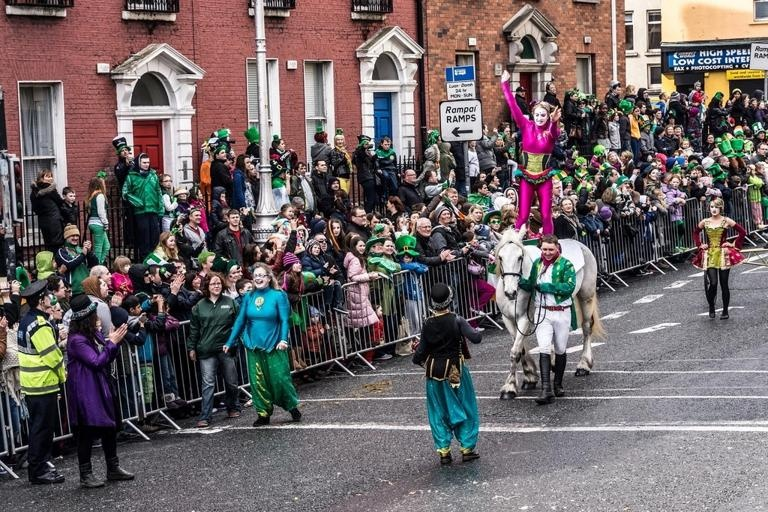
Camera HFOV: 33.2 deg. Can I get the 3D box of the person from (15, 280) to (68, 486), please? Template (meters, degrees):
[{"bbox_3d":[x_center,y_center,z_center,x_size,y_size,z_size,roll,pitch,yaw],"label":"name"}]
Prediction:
[{"bbox_3d":[-5.311,1.961,19.944,0.719,2.971,0.968,-7,12,-14],"label":"person"}]

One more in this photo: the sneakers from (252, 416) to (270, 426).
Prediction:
[{"bbox_3d":[-2.077,2.811,21.927,0.331,0.206,0.124,3,3,-4],"label":"sneakers"}]

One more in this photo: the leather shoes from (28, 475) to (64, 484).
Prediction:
[{"bbox_3d":[-5.198,3.438,19.826,0.533,0.195,0.183,-2,1,-4],"label":"leather shoes"}]

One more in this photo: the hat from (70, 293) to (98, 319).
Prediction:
[{"bbox_3d":[-4.665,0.805,19.734,0.391,0.188,0.347,-24,14,-1],"label":"hat"}]

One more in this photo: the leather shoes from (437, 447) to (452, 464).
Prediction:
[{"bbox_3d":[0.942,3.049,19.664,0.126,0.199,0.306,0,7,10],"label":"leather shoes"}]

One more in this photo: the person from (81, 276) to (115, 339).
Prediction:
[{"bbox_3d":[-4.818,0.877,21.493,0.485,1.115,0.488,-8,5,-29],"label":"person"}]

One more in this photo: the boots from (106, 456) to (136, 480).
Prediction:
[{"bbox_3d":[-4.069,3.273,19.737,0.541,0.379,0.237,0,2,-4],"label":"boots"}]

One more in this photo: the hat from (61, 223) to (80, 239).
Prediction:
[{"bbox_3d":[-6.130,-0.484,25.059,0.341,0.297,0.288,0,0,25],"label":"hat"}]

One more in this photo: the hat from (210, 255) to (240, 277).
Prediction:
[{"bbox_3d":[-2.892,0.140,23.468,0.480,0.295,0.336,-19,7,26],"label":"hat"}]

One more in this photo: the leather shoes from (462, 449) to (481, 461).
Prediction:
[{"bbox_3d":[1.318,3.035,19.659,0.315,0.122,0.121,-7,13,-16],"label":"leather shoes"}]

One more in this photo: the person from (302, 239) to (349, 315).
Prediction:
[{"bbox_3d":[-1.168,0.394,24.683,0.792,1.375,0.651,-6,11,-9],"label":"person"}]

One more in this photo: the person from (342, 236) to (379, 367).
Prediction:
[{"bbox_3d":[-0.466,0.733,25.175,0.604,2.176,0.743,1,12,23],"label":"person"}]

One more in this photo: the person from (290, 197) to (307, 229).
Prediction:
[{"bbox_3d":[-1.851,-0.924,27.669,0.237,0.734,0.305,-17,-12,14],"label":"person"}]

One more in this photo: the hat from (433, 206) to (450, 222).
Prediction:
[{"bbox_3d":[1.240,-0.869,27.085,0.288,0.285,0.354,3,-13,-10],"label":"hat"}]

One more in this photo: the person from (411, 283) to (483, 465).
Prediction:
[{"bbox_3d":[0.994,1.809,19.810,0.951,2.662,1.073,-5,11,-7],"label":"person"}]

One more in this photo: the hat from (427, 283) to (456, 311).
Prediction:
[{"bbox_3d":[0.887,0.637,20.028,0.320,0.426,0.326,0,-3,12],"label":"hat"}]

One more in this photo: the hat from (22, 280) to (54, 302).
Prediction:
[{"bbox_3d":[-5.448,0.522,20.097,0.355,0.130,0.310,-13,15,-32],"label":"hat"}]

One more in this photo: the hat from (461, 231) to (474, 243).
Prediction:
[{"bbox_3d":[1.761,-0.394,27.022,0.244,0.207,0.178,-18,14,6],"label":"hat"}]

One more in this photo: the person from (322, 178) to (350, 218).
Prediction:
[{"bbox_3d":[-1.147,-1.377,29.986,0.630,0.906,1.450,-4,11,1],"label":"person"}]

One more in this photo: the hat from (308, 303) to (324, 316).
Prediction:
[{"bbox_3d":[-1.300,1.033,24.433,0.220,0.295,0.337,0,12,17],"label":"hat"}]

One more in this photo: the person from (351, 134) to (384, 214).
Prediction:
[{"bbox_3d":[-0.443,-2.053,32.790,0.641,2.140,0.793,-10,-1,32],"label":"person"}]

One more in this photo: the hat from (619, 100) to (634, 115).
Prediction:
[{"bbox_3d":[7.400,-4.600,39.216,0.465,0.439,0.275,-19,-28,19],"label":"hat"}]

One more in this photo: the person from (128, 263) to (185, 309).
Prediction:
[{"bbox_3d":[-4.050,0.533,23.122,0.923,0.927,0.711,-13,21,1],"label":"person"}]

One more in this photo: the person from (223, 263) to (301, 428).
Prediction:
[{"bbox_3d":[-2.088,1.523,22.038,1.352,2.644,0.937,-1,-3,-5],"label":"person"}]

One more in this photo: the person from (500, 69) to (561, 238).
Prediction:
[{"bbox_3d":[2.797,-1.934,23.883,0.991,2.988,1.318,-4,11,-1],"label":"person"}]

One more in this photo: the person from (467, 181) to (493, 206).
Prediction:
[{"bbox_3d":[2.290,-1.411,30.260,0.549,0.706,0.955,-1,3,13],"label":"person"}]

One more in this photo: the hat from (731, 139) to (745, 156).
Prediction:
[{"bbox_3d":[10.492,-3.205,37.920,0.532,0.481,0.513,2,3,38],"label":"hat"}]

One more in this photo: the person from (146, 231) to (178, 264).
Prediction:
[{"bbox_3d":[-4.194,-0.153,24.347,0.565,0.466,0.861,-3,11,4],"label":"person"}]

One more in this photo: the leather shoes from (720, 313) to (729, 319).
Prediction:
[{"bbox_3d":[7.151,1.229,26.959,0.168,0.144,0.273,-1,11,15],"label":"leather shoes"}]

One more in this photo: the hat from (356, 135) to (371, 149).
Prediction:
[{"bbox_3d":[-0.498,-2.901,33.026,0.347,0.363,0.362,4,51,-6],"label":"hat"}]

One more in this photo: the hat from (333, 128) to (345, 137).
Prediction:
[{"bbox_3d":[-1.181,-3.256,33.762,0.215,0.218,0.630,-1,2,-2],"label":"hat"}]

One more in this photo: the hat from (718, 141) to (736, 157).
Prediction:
[{"bbox_3d":[10.065,-3.129,37.595,0.374,0.489,0.279,-22,17,6],"label":"hat"}]

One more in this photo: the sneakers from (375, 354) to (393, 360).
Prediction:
[{"bbox_3d":[-0.013,2.023,25.806,0.393,0.143,0.125,-2,37,1],"label":"sneakers"}]

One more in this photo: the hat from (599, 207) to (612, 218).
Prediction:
[{"bbox_3d":[5.353,-1.041,31.004,0.281,0.289,0.313,-1,11,11],"label":"hat"}]

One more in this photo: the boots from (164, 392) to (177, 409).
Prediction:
[{"bbox_3d":[-3.738,2.523,22.495,0.209,0.235,0.157,-8,12,-22],"label":"boots"}]

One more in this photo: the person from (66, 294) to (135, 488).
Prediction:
[{"bbox_3d":[-4.409,2.048,19.586,0.827,2.796,0.880,-7,12,-14],"label":"person"}]

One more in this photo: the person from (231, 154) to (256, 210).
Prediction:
[{"bbox_3d":[-3.291,-1.675,29.651,0.552,1.101,0.974,-5,11,-6],"label":"person"}]

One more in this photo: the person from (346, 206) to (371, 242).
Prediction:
[{"bbox_3d":[-0.523,-0.639,26.581,0.379,0.482,0.759,-6,7,16],"label":"person"}]

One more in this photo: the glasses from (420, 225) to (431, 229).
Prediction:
[{"bbox_3d":[0.880,-0.595,26.339,0.174,0.100,0.057,-10,13,-29],"label":"glasses"}]

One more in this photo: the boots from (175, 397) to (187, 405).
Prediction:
[{"bbox_3d":[-3.561,2.548,22.546,0.237,0.096,0.083,10,42,37],"label":"boots"}]

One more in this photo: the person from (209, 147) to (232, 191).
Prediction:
[{"bbox_3d":[-3.742,-1.978,29.443,0.472,1.008,0.625,-5,11,-7],"label":"person"}]

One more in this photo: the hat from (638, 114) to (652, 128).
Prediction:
[{"bbox_3d":[8.045,-4.141,39.789,0.117,0.415,0.423,34,59,11],"label":"hat"}]

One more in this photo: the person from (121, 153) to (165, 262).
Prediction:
[{"bbox_3d":[-5.290,-1.042,28.207,0.861,2.354,0.746,-2,12,11],"label":"person"}]

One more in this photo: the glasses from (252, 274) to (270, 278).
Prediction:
[{"bbox_3d":[-2.091,0.337,21.893,0.247,0.080,0.083,-4,11,-4],"label":"glasses"}]

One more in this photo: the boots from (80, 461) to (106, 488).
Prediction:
[{"bbox_3d":[-4.455,3.297,19.521,0.354,0.382,0.395,-7,12,-16],"label":"boots"}]

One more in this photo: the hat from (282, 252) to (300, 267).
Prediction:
[{"bbox_3d":[-1.756,0.073,24.037,0.280,0.245,0.251,6,5,42],"label":"hat"}]

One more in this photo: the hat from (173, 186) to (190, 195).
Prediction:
[{"bbox_3d":[-4.678,-1.510,29.530,0.386,0.148,0.376,-12,1,-37],"label":"hat"}]

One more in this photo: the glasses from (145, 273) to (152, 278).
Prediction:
[{"bbox_3d":[-4.233,0.359,23.069,0.105,0.126,0.097,-10,12,-6],"label":"glasses"}]

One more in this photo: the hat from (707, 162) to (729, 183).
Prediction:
[{"bbox_3d":[9.372,-2.320,36.146,0.463,0.584,0.164,-31,-12,-1],"label":"hat"}]

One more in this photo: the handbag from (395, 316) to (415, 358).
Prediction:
[{"bbox_3d":[0.422,1.559,26.011,0.398,0.630,0.501,-11,17,-17],"label":"handbag"}]
